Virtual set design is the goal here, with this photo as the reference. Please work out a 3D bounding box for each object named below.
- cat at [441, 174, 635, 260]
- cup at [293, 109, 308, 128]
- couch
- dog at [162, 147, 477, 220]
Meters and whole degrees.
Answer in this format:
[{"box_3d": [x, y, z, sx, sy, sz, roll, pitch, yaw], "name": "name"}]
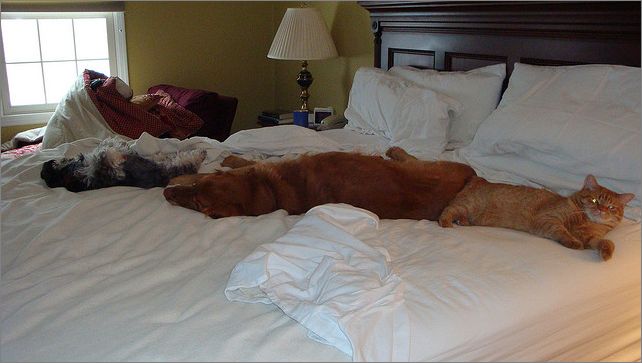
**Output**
[{"box_3d": [1.109, 0.150, 2.325, 0.803, 0.357, 0.467, 7, -12, 37], "name": "cat"}, {"box_3d": [-0.181, -0.576, 4.174, 0.210, 0.211, 0.199, 0, 7, 0], "name": "cup"}, {"box_3d": [-1.242, -0.739, 4.421, 0.809, 0.535, 0.598, 19, 2, 39], "name": "couch"}, {"box_3d": [0.110, -0.005, 2.679, 1.782, 0.569, 0.550, 2, -3, 19], "name": "dog"}]
